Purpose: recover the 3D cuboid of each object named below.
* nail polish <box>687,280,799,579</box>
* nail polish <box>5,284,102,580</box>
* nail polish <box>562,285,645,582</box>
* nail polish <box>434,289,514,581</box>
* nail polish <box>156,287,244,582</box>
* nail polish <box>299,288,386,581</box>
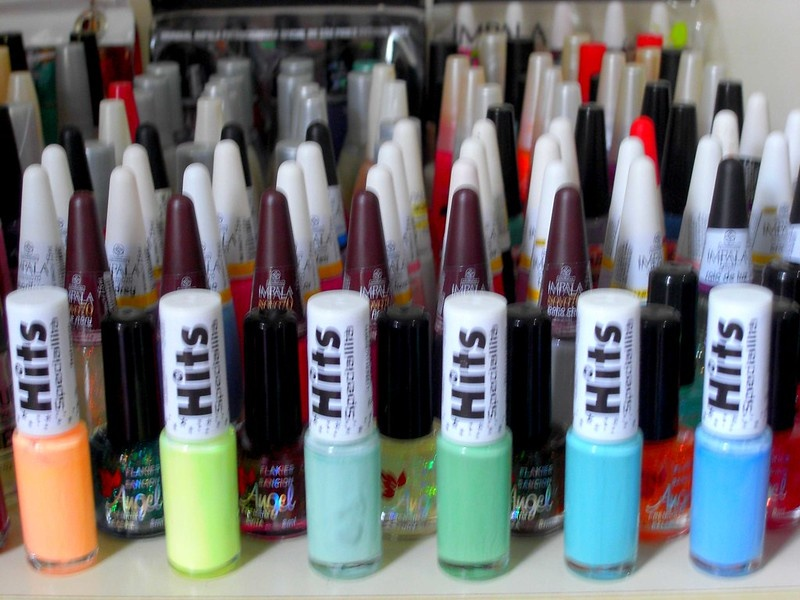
[{"bbox_3d":[0.193,0.079,0.445,0.045,0.174,0.037,-1,12,15],"label":"nail polish"},{"bbox_3d":[-0.205,0.082,0.444,0.045,0.171,0.020,-8,12,-16],"label":"nail polish"},{"bbox_3d":[0.120,0.080,0.451,0.045,0.169,0.048,4,17,23],"label":"nail polish"},{"bbox_3d":[0.041,0.085,0.438,0.046,0.169,0.020,-4,12,2],"label":"nail polish"},{"bbox_3d":[-0.119,0.083,0.443,0.047,0.171,0.030,-9,13,-22],"label":"nail polish"},{"bbox_3d":[-0.035,0.085,0.441,0.046,0.172,0.024,-7,12,-11],"label":"nail polish"}]
